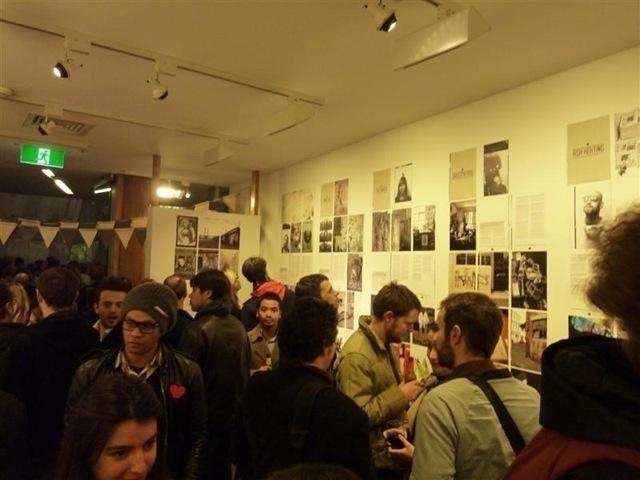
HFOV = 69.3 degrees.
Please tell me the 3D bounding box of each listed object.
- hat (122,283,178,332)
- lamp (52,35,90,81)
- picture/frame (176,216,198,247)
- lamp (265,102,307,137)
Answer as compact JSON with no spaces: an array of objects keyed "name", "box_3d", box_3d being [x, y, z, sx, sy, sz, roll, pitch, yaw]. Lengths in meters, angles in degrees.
[{"name":"hat","box_3d":[-1.016,0.387,2.983,0.255,0.285,0.340,18,-17,16]},{"name":"lamp","box_3d":[-2.399,-1.773,4.464,0.221,0.323,0.224,15,-3,42]},{"name":"picture/frame","box_3d":[-2.423,-0.158,8.347,0.490,0.725,0.067,2,-8,-36]},{"name":"lamp","box_3d":[-0.412,-1.441,5.490,0.219,0.239,0.749,8,-8,-34]}]
